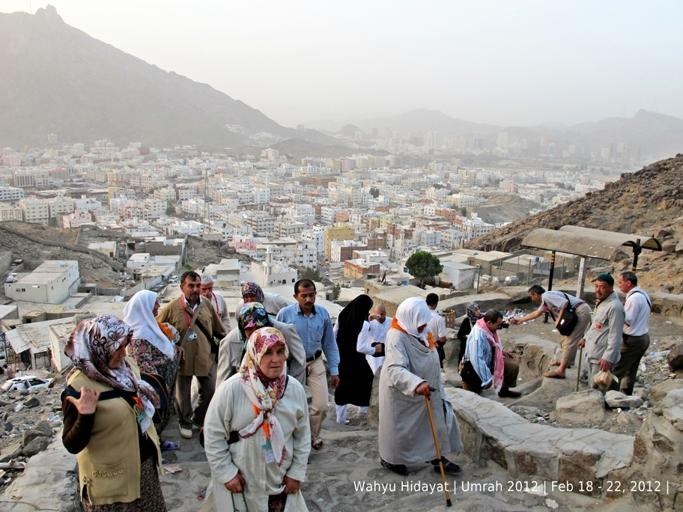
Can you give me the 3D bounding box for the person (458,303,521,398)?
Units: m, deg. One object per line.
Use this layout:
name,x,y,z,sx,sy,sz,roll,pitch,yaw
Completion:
person,1.542,1.016,5.176,0.580,1.022,0.612,4,41,14

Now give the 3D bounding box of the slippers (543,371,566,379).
slippers,2.159,1.215,5.035,0.170,0.065,0.067,6,6,17

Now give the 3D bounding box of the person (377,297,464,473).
person,0.519,0.955,3.588,0.631,1.294,0.497,-7,5,3

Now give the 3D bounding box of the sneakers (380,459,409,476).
sneakers,0.393,1.570,3.683,0.129,0.101,0.096,-4,-4,23

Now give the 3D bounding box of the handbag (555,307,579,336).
handbag,2.275,0.655,5.018,0.130,0.249,0.175,16,42,-2

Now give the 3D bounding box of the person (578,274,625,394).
person,2.389,0.707,4.562,0.402,1.083,0.669,-6,5,13
